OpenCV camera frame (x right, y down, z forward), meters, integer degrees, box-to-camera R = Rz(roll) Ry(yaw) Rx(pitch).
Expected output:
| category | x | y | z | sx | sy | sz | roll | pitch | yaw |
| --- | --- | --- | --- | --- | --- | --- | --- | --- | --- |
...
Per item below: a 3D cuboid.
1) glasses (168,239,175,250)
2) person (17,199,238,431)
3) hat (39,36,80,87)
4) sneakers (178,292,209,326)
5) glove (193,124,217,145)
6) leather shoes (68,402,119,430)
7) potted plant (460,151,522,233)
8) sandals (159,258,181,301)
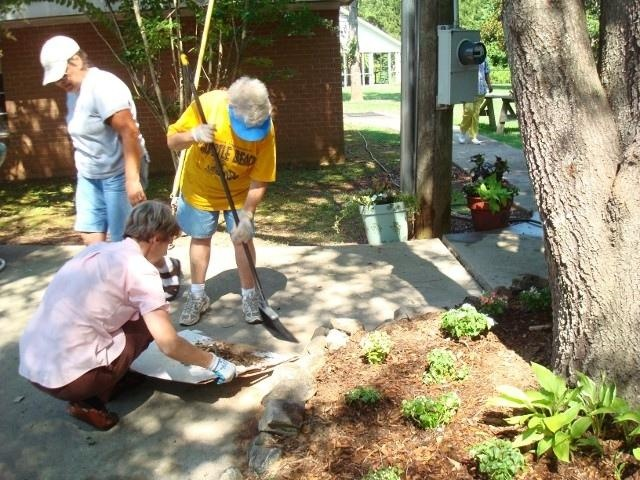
| category | x | y | z | sx | sy | sz | roll | pitch | yaw |
| --- | --- | --- | --- | --- | --- | --- | --- | --- | --- |
| glasses | -1.336 | 0.037 | 4.721 | 0.079 | 0.107 | 0.030 | 13 | 1 | 32 |
| person | -1.264 | 0.500 | 3.288 | 1.143 | 1.425 | 0.539 | -2 | 15 | 6 |
| hat | -1.958 | -1.340 | 3.913 | 0.312 | 0.335 | 0.204 | -5 | 15 | -5 |
| sneakers | -1.124 | 0.586 | 4.533 | 0.139 | 0.196 | 0.385 | -1 | 24 | 13 |
| glove | -0.890 | -0.799 | 3.984 | 0.149 | 0.152 | 0.265 | -14 | 18 | -33 |
| leather shoes | -1.463 | 1.107 | 3.403 | 0.263 | 0.092 | 0.160 | 19 | 11 | 6 |
| potted plant | 2.093 | -0.568 | 6.355 | 0.618 | 0.832 | 0.604 | 5 | 11 | 11 |
| sandals | -1.425 | 0.351 | 5.001 | 0.167 | 0.453 | 0.125 | -4 | 5 | -4 |
